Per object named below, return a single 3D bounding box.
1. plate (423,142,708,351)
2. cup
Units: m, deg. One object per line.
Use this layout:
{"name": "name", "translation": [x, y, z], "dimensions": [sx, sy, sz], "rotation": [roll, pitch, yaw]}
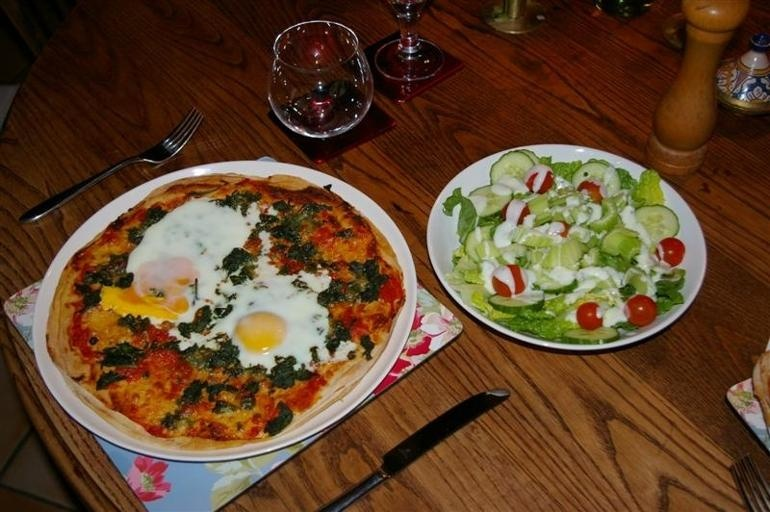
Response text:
{"name": "plate", "translation": [0.632, -0.060, 2.232], "dimensions": [0.934, 0.184, 0.834], "rotation": [21, 72, 10]}
{"name": "cup", "translation": [-0.281, -0.733, 2.750], "dimensions": [0.462, 0.374, 0.513], "rotation": [-9, 50, -6]}
